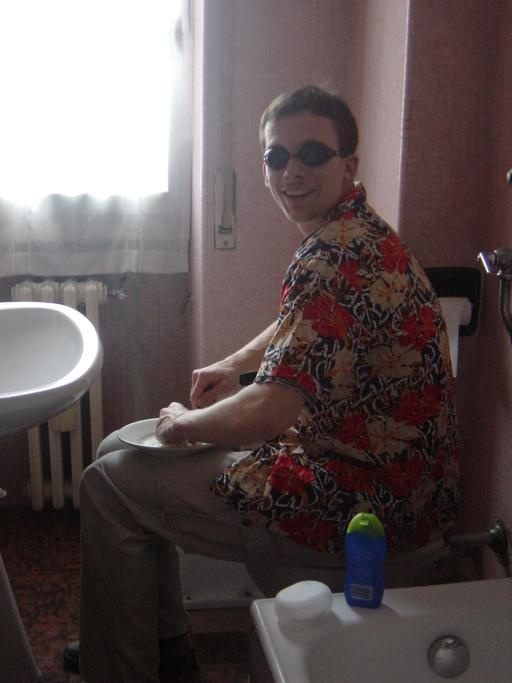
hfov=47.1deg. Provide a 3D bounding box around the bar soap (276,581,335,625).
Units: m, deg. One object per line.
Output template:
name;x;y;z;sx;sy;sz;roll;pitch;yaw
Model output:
bar soap;0.058;0.306;0.686;0.057;0.037;0.080;-1;0;11

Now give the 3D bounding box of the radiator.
radiator;-0.687;0.153;2.054;0.320;0.761;0.134;-4;-19;-14

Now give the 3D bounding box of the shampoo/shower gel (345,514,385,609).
shampoo/shower gel;0.134;0.270;0.727;0.049;0.114;0.040;2;-4;10
